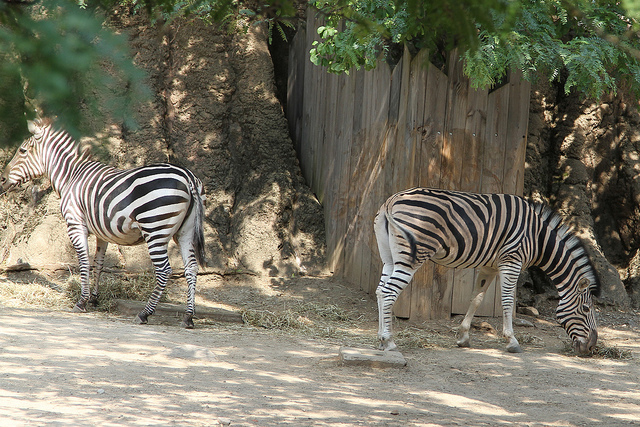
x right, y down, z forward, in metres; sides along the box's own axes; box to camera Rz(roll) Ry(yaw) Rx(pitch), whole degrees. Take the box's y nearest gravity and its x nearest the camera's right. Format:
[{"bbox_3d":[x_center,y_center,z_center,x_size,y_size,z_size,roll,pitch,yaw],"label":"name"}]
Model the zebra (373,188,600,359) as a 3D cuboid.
[{"bbox_3d":[2.227,0.793,10.773,3.056,2.003,0.951,8,-2,-11],"label":"zebra"}]
